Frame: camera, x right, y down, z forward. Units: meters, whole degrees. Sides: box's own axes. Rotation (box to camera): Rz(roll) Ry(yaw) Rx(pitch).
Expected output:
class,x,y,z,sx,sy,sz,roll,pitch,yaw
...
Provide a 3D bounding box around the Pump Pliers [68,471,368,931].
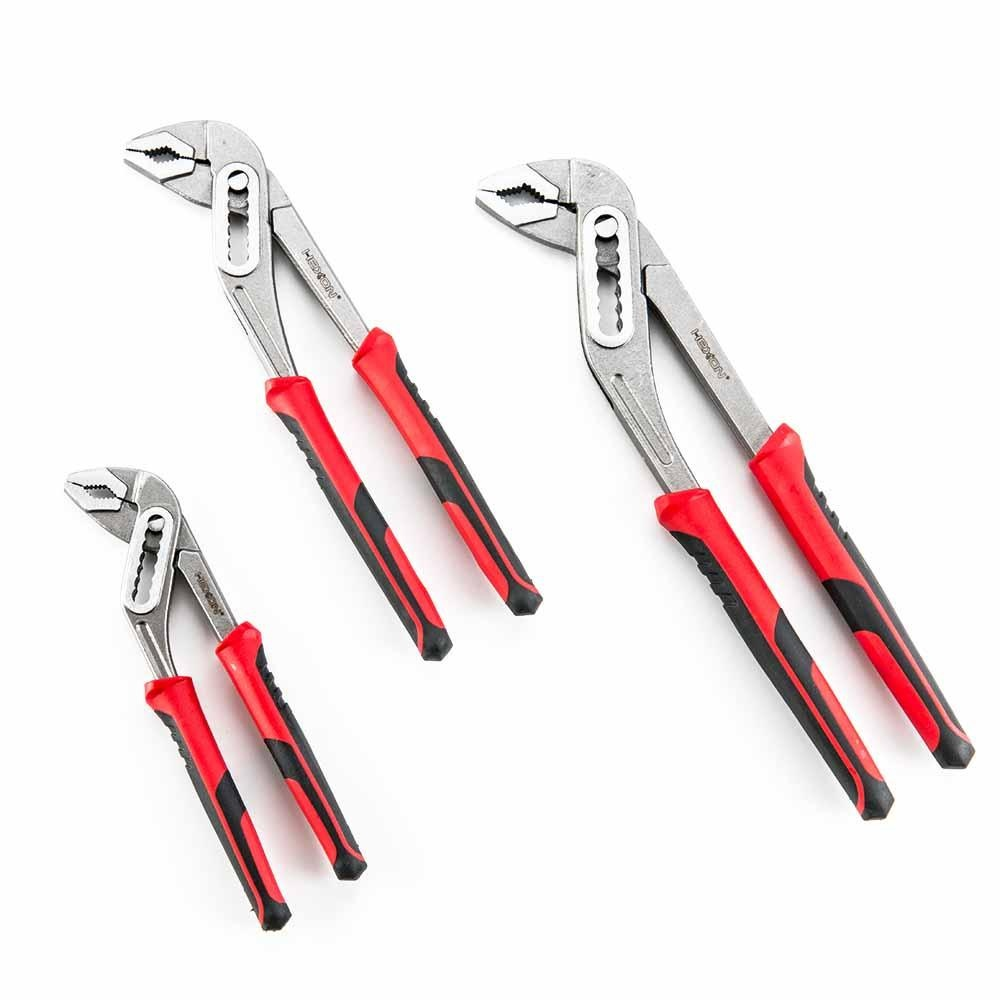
class,x,y,z,sx,sy,sz,roll,pitch,yaw
Pump Pliers,-0.457,0.275,1.978,0.292,0.791,0.173,-16,-29,-12

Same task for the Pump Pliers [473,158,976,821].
class,x,y,z,sx,sy,sz,roll,pitch,yaw
Pump Pliers,0.374,-0.061,2.138,0.261,1.229,0.457,-34,-30,20
